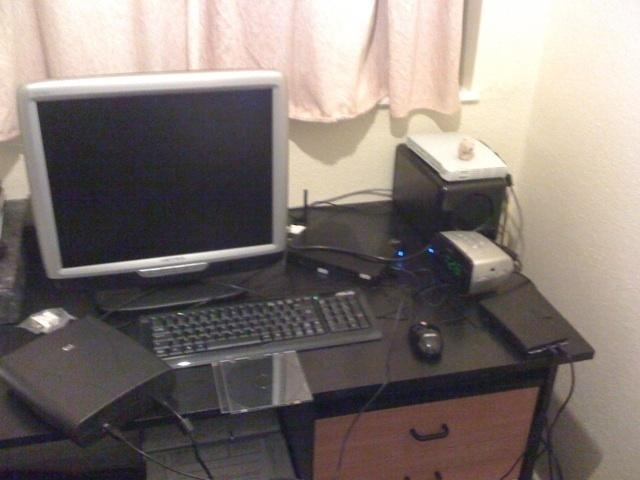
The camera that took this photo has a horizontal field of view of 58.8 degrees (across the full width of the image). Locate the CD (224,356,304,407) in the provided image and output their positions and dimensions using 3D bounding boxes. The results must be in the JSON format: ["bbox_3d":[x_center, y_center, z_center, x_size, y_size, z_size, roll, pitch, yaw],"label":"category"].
[{"bbox_3d":[-0.130,0.323,1.300,0.202,0.023,0.144,-9,37,-10],"label":"CD"}]

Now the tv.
[{"bbox_3d":[-0.380,-0.113,1.416,0.605,0.523,0.198,-7,18,-20],"label":"tv"}]

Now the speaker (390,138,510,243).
[{"bbox_3d":[0.404,-0.182,1.805,0.257,0.238,0.336,-6,35,-14],"label":"speaker"}]

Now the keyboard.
[{"bbox_3d":[-0.162,0.223,1.423,0.527,0.057,0.206,-7,27,-8],"label":"keyboard"}]
